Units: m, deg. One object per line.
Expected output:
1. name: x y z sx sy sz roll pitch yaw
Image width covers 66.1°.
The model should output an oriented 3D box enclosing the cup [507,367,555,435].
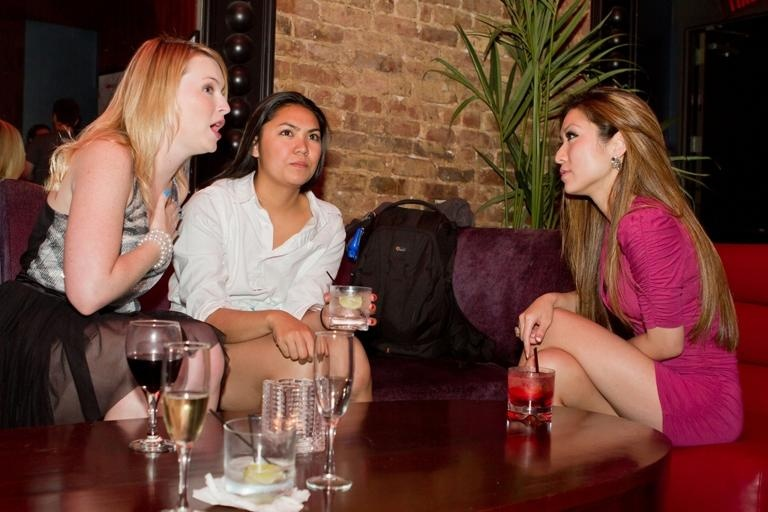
1. cup: 0.431 0.432 1.753 0.138 0.178 0.149 1 -3 0

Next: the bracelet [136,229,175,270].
1. bracelet: -0.782 -0.020 2.018 0.105 0.140 0.057 -2 -1 10

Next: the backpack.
1. backpack: 0.099 0.148 2.906 0.597 0.871 0.433 3 -7 3

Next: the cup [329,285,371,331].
1. cup: -0.124 0.188 2.138 0.138 0.165 0.151 4 -6 0

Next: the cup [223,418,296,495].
1. cup: -0.270 0.430 1.336 0.140 0.143 0.161 2 -4 1
